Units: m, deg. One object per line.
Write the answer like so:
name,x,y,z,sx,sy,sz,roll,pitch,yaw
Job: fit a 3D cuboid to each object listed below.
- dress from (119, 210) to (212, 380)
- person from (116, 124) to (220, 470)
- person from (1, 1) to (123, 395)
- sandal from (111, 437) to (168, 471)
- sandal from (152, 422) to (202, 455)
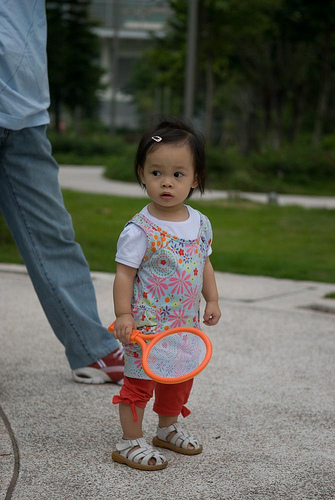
dress,0.015,0.172,1.857,0.382,0.584,0.296,-1,11,-23
person,0.003,0.158,1.873,0.348,1.175,0.695,5,10,5
person,-0.447,-0.161,2.278,0.627,1.623,0.236,-6,14,-42
sandal,-0.098,0.676,1.842,0.209,0.078,0.107,-5,-8,40
sandal,0.035,0.671,1.980,0.197,0.081,0.091,-2,4,35
